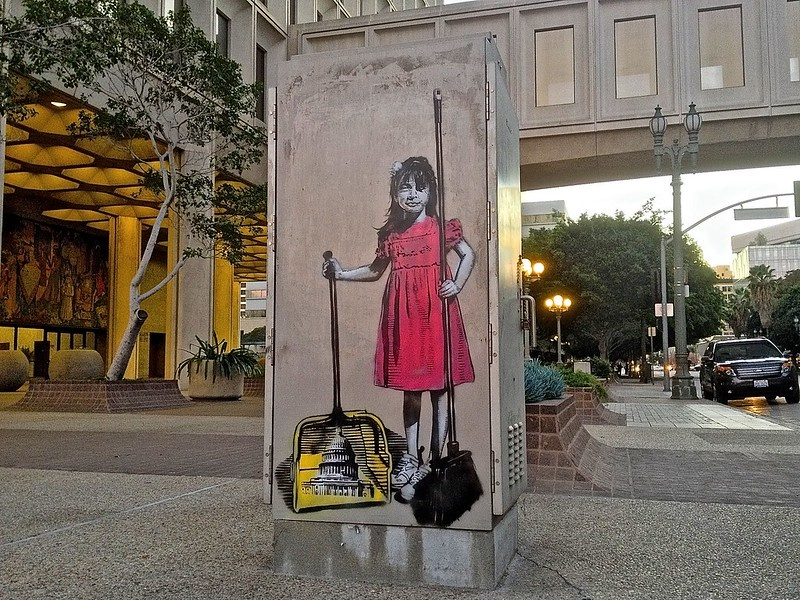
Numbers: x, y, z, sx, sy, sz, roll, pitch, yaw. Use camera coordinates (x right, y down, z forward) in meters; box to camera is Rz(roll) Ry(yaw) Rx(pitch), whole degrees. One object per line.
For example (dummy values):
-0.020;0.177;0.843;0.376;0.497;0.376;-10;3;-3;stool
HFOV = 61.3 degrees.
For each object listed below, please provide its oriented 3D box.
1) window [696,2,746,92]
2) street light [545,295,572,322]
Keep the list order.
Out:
13.436;-10.573;28.370;1.666;3.498;0.224;-1;-5;10;window
9.164;0.455;39.043;1.478;1.738;1.447;-11;-11;36;street light
